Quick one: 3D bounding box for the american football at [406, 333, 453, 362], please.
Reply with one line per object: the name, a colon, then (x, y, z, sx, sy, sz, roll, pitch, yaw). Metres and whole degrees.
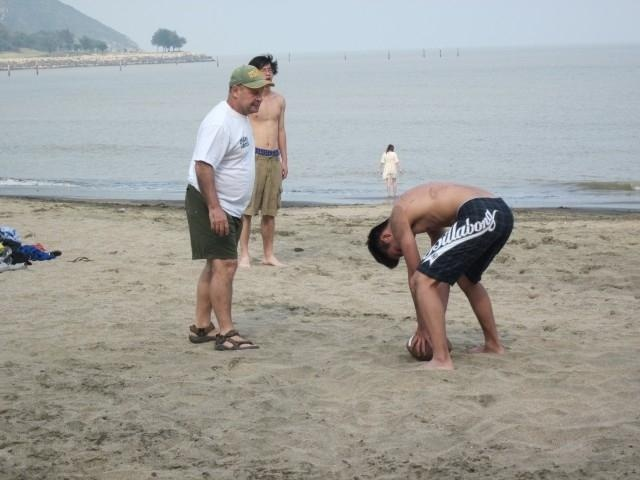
american football: (0.962, 1.011, 8.112, 0.302, 0.141, 0.297, -10, 14, -43)

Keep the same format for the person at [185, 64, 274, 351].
person: (-0.888, -0.296, 8.280, 0.714, 2.628, 0.607, 3, 12, 9)

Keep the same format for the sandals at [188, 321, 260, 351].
sandals: (-0.959, 0.914, 8.410, 0.598, 0.144, 0.258, 1, 4, 21)

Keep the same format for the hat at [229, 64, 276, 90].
hat: (-0.631, -1.496, 8.119, 0.360, 0.113, 0.218, 2, 17, 7)
